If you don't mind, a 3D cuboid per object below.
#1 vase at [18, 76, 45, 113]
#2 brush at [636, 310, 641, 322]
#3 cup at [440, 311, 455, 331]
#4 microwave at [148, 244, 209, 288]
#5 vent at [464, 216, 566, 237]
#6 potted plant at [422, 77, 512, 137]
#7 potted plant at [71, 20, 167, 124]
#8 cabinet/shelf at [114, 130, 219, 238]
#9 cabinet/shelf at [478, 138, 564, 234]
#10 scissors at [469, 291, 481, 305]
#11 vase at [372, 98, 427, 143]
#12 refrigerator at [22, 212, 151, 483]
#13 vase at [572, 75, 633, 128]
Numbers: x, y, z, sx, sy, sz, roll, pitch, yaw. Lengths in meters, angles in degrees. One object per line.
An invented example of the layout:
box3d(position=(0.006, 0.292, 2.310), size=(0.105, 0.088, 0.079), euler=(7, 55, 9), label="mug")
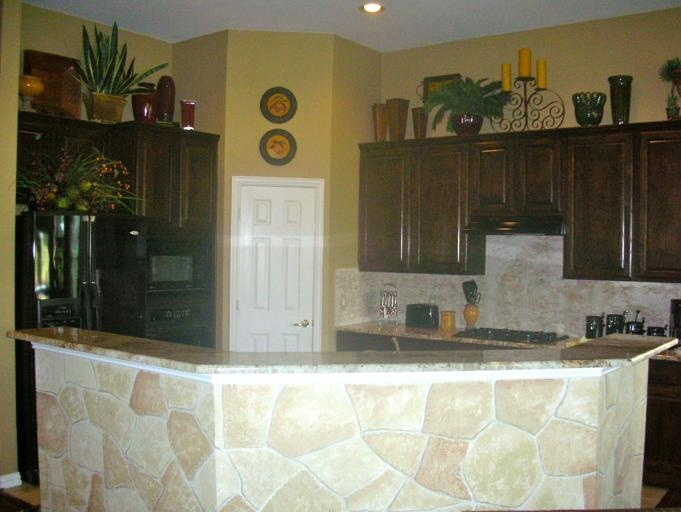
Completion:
box3d(position=(-2.561, -1.325, 5.279), size=(0.244, 0.286, 0.251), euler=(6, 3, 41), label="vase")
box3d(position=(2.471, 0.497, 5.371), size=(0.047, 0.089, 0.045), euler=(1, 5, 17), label="brush")
box3d(position=(0.954, 0.605, 5.882), size=(0.151, 0.209, 0.156), euler=(1, -6, 0), label="cup")
box3d(position=(-1.411, 0.078, 5.689), size=(0.174, 0.378, 0.665), euler=(8, 4, 28), label="microwave")
box3d(position=(1.471, -0.273, 5.490), size=(0.834, 0.167, 0.254), euler=(11, 6, 39), label="vent")
box3d(position=(1.136, -1.362, 5.853), size=(0.781, 0.552, 0.810), euler=(-2, 5, 5), label="potted plant")
box3d(position=(-2.017, -1.610, 5.802), size=(0.990, 0.928, 0.689), euler=(2, 2, 3), label="potted plant")
box3d(position=(-1.574, -0.637, 5.677), size=(0.458, 1.266, 0.969), euler=(0, 0, 44), label="cabinet/shelf")
box3d(position=(1.566, -0.597, 5.499), size=(0.790, 0.807, 0.439), euler=(2, 1, 35), label="cabinet/shelf")
box3d(position=(1.251, 0.395, 6.003), size=(0.138, 0.140, 0.088), euler=(6, 2, -8), label="scissors")
box3d(position=(0.554, -1.309, 6.176), size=(0.410, 0.343, 0.489), euler=(3, 10, 28), label="vase")
box3d(position=(-2.106, 0.680, 4.964), size=(0.811, 2.054, 0.408), euler=(4, 4, -28), label="refrigerator")
box3d(position=(2.185, -1.281, 5.356), size=(0.546, 0.465, 0.255), euler=(0, 1, 28), label="vase")
